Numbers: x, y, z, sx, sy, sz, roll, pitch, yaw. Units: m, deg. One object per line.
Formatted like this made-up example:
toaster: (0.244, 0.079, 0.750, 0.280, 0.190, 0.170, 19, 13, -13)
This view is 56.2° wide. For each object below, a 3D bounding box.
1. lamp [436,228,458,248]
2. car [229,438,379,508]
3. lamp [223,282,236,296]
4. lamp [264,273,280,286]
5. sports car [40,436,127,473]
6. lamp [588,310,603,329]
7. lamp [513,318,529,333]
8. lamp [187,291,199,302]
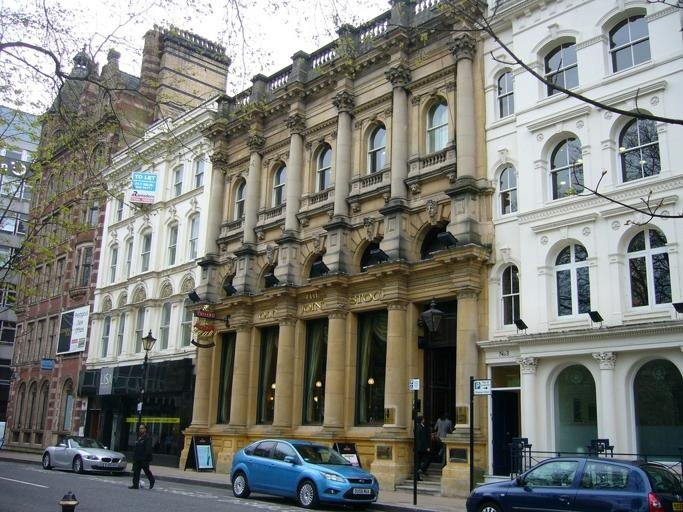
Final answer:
lamp: (3.922, -0.671, 23.686, 0.484, 0.638, 0.631, -15, -24, 38)
car: (-1.165, 6.713, 19.773, 4.203, 1.572, 2.069, -16, -27, 40)
lamp: (-5.712, 1.691, 32.598, 0.418, 0.404, 0.738, -15, -37, 4)
lamp: (-3.218, 1.044, 29.932, 0.175, 0.614, 0.624, -29, 6, -39)
sports car: (-11.339, 8.739, 28.230, 4.012, 1.544, 1.592, -16, -24, 37)
lamp: (7.995, 1.955, 20.149, 0.385, 0.521, 0.647, -11, -22, 30)
lamp: (6.079, 2.303, 21.902, 0.140, 0.333, 0.460, -14, 17, -19)
lamp: (-7.853, 2.124, 33.842, 0.324, 0.325, 0.581, -33, 4, -14)
